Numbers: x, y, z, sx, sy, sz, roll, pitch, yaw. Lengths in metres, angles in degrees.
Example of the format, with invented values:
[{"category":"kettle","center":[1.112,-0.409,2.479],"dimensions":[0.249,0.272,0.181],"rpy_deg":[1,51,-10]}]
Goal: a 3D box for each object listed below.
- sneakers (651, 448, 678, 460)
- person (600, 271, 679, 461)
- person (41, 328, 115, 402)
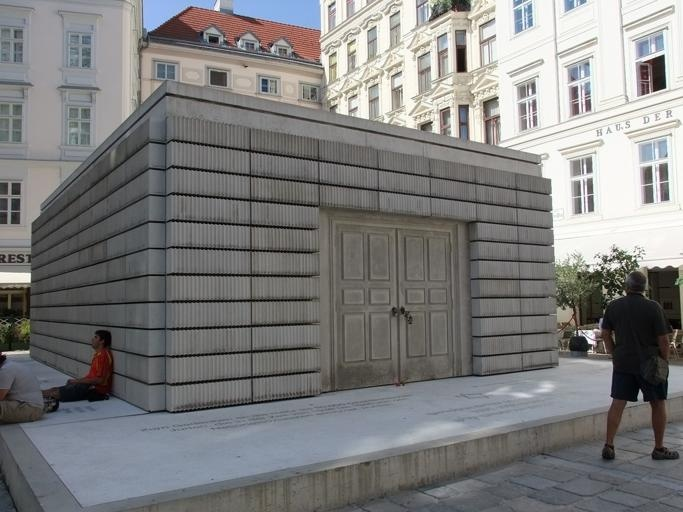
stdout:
[{"category":"sneakers","center":[4.151,2.517,7.966],"dimensions":[0.285,0.148,0.149],"rpy_deg":[-2,0,-12]},{"category":"person","center":[3.839,1.428,8.036],"dimensions":[0.896,2.384,0.647],"rpy_deg":[4,7,17]},{"category":"person","center":[-4.445,1.822,10.404],"dimensions":[1.109,1.276,0.577],"rpy_deg":[10,-13,-38]}]
